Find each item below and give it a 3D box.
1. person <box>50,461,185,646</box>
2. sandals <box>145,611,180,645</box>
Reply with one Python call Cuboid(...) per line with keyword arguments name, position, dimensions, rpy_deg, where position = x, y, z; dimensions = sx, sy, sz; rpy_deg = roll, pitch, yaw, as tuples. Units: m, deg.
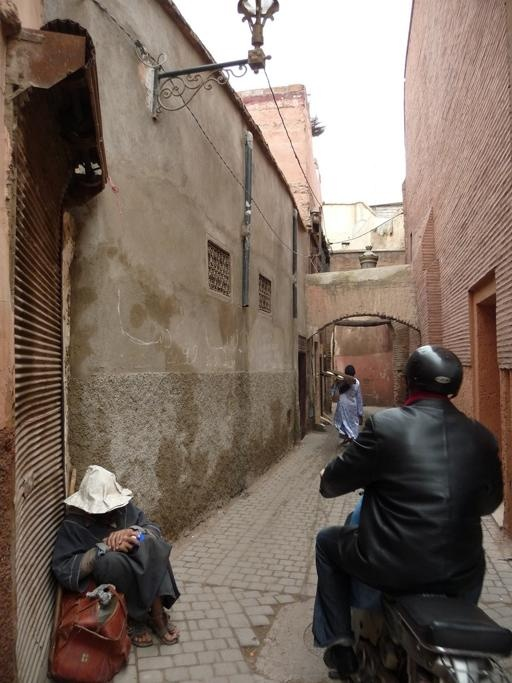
Cuboid(name="person", position=(-0.781, 1.169, 3.102), dimensions=(0.458, 1.088, 0.602), rpy_deg=(-13, 0, 27))
Cuboid(name="sandals", position=(-0.504, 1.559, 3.093), dimensions=(0.084, 0.125, 0.239), rpy_deg=(0, -5, -33))
